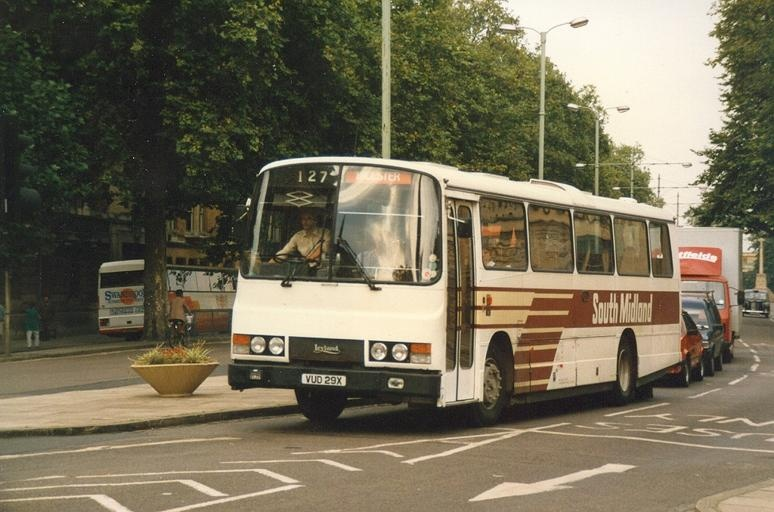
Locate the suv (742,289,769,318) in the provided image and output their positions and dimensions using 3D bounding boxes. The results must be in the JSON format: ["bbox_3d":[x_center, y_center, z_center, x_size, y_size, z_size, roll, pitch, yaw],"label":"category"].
[{"bbox_3d":[33.321,4.321,81.345,1.901,2.527,2.995,-1,-7,8],"label":"suv"}]
